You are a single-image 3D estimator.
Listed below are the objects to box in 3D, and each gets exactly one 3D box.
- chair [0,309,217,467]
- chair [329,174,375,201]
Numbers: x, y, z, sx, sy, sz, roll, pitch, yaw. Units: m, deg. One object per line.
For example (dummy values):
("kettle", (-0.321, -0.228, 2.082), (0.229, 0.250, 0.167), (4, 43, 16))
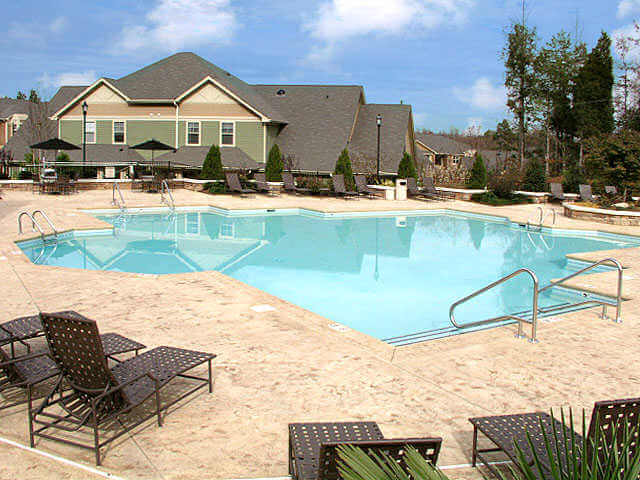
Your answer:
("chair", (-1.964, 1.187, 5.646), (1.187, 1.355, 2.338), (5, 11, 30))
("chair", (1.590, -2.913, 28.068), (2.369, 1.293, 2.874), (8, 14, 31))
